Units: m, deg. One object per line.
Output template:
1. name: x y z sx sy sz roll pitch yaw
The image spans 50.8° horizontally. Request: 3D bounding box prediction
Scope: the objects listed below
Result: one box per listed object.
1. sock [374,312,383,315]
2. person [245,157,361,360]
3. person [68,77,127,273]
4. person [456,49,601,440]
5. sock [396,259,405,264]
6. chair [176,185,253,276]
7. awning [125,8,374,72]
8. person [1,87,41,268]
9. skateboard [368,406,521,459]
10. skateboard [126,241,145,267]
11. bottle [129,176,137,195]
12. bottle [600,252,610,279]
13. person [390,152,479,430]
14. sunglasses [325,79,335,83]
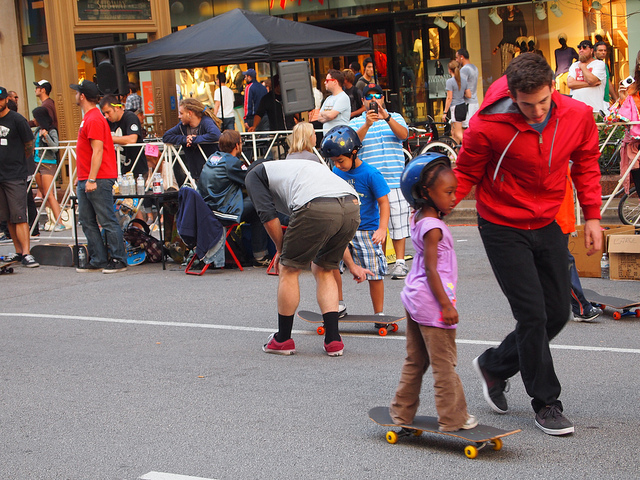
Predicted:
1. sock: 0.563 0.706 6.540 0.057 0.021 0.042 -10 3 -6
2. person: -0.124 0.171 5.737 0.941 1.701 0.453 -3 11 2
3. person: -3.142 -0.691 9.573 0.542 2.327 0.520 -13 15 -41
4. person: 1.334 0.037 4.283 0.922 2.348 0.615 -1 11 8
5. sock: 1.031 0.269 8.714 0.104 0.075 0.187 -1 11 7
6. chair: -1.553 -0.136 9.581 1.023 1.171 0.926 -1 0 -12
7. awning: -1.359 -3.709 12.644 2.381 0.679 2.407 -7 9 -36
8. person: -4.599 -0.927 10.208 0.525 2.681 0.517 -6 11 -13
9. skateboard: 0.753 1.148 4.134 1.096 0.182 0.315 2 6 32
10. skateboard: -2.803 0.198 10.254 0.259 0.338 0.163 -6 11 -16
11. bottle: -2.788 -0.820 10.034 0.104 0.240 0.324 -6 11 -15
12. bottle: 3.327 0.299 7.889 0.071 0.298 0.114 -10 13 -30
13. person: 0.661 0.312 4.100 0.515 1.641 0.512 -2 11 5
14. sunglasses: 0.127 -2.474 10.422 0.101 0.040 0.288 -6 11 -16
